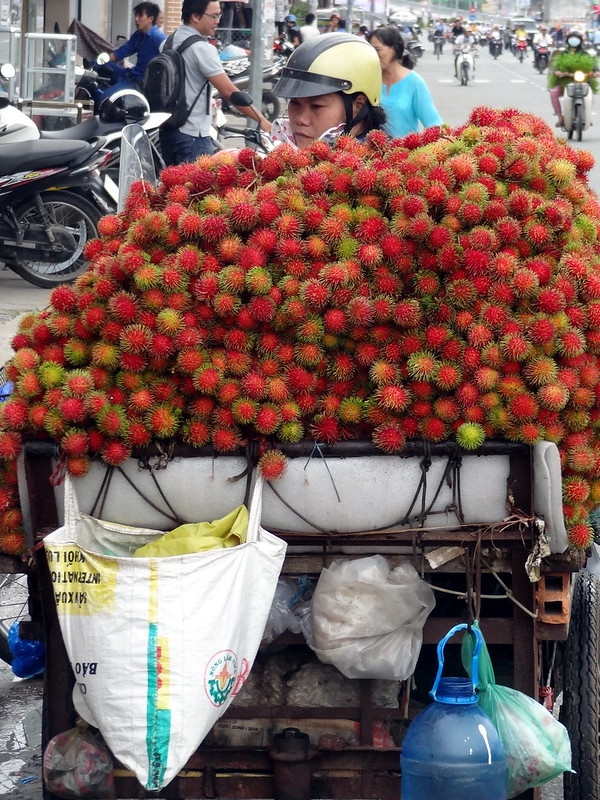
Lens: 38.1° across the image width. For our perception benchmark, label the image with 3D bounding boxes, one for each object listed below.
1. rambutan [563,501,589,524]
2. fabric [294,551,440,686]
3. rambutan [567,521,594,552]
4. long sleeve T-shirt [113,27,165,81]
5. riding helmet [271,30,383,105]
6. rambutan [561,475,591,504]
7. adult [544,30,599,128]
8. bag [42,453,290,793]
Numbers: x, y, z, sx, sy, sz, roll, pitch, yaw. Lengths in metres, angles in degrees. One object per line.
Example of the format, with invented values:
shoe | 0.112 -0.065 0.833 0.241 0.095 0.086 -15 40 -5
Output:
rambutan | 0.561 0.230 1.763 0.043 0.038 0.056 7 -24 18
fabric | 0.091 0.450 1.926 0.344 0.146 0.393 11 10 -37
rambutan | 0.564 0.276 1.778 0.062 0.058 0.059 -1 2 1
long sleeve T-shirt | -2.050 -4.535 11.314 0.692 0.545 0.365 14 23 6
riding helmet | 0.103 -1.111 2.886 0.391 0.205 0.270 -7 33 -27
rambutan | 0.553 0.178 1.748 0.054 0.051 0.055 2 2 37
adult | 5.486 -6.773 17.894 1.138 1.179 1.884 1 11 8
bag | -0.262 0.404 1.668 0.356 0.491 0.366 9 14 32
